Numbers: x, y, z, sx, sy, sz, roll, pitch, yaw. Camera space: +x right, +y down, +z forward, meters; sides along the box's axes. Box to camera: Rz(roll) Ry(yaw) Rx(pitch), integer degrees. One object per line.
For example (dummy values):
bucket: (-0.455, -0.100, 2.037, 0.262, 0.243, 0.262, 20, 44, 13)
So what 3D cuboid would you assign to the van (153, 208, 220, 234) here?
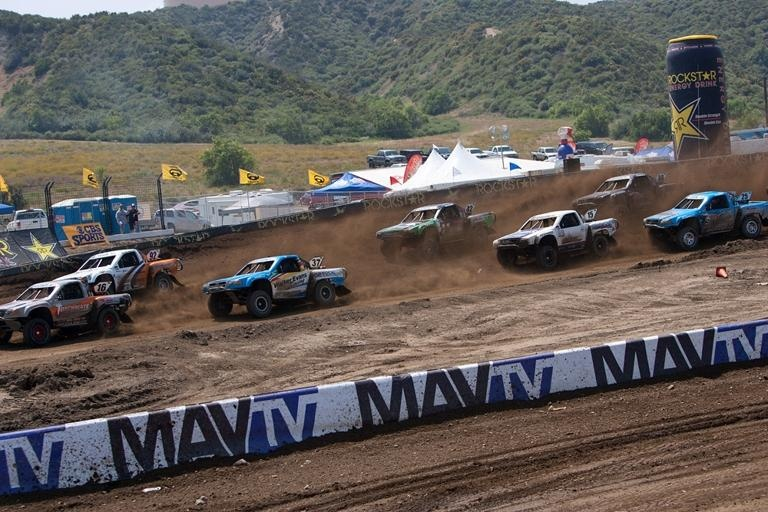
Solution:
van: (-11.243, -1.724, 56.900, 3.850, 1.800, 1.883, -3, 7, -9)

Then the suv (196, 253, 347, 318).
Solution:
suv: (-4.108, 1.105, 38.275, 4.283, 1.851, 2.443, -2, -1, -35)

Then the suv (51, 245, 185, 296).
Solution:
suv: (-10.212, 0.666, 39.836, 2.079, 1.586, 3.572, -3, -1, 45)
